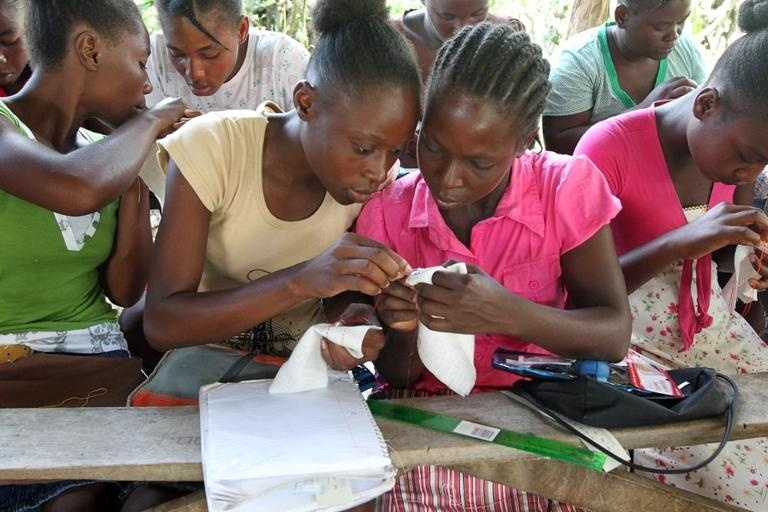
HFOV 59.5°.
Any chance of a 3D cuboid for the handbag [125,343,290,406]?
[{"bbox_3d":[-0.879,0.574,3.247,0.457,0.182,0.328,3,18,-11],"label":"handbag"}]
